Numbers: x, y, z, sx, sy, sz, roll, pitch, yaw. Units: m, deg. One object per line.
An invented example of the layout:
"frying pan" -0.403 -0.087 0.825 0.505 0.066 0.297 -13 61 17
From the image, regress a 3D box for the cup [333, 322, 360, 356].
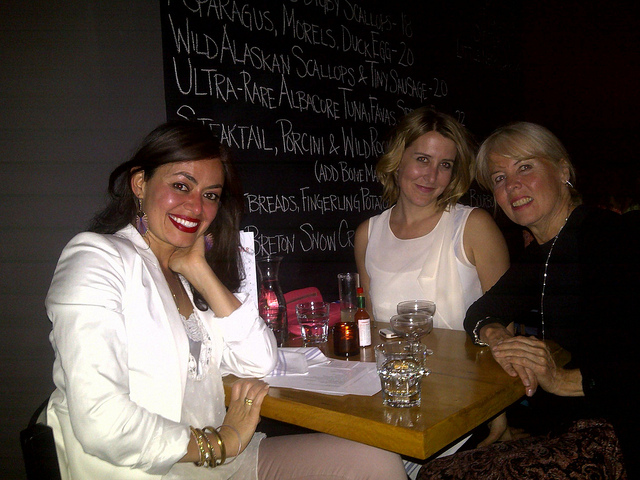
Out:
"cup" 0.124 0.457 2.259 0.105 0.117 0.111 -3 -10 0

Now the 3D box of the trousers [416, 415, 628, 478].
"trousers" 0.731 0.772 1.817 0.691 0.206 0.212 -3 5 10

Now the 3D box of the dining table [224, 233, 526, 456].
"dining table" 0.203 0.486 2.187 0.965 0.604 1.340 -9 0 -37

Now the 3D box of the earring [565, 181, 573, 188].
"earring" 1.236 -0.275 2.463 0.005 0.007 0.032 -18 52 -28

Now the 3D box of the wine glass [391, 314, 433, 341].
"wine glass" 0.405 0.372 2.222 0.126 0.097 0.128 0 1 14

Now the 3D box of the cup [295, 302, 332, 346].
"cup" -0.034 0.405 2.437 0.148 0.173 0.151 0 8 0

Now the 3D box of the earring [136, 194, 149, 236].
"earring" -0.787 -0.111 2.188 0.061 0.181 0.053 -4 5 -7

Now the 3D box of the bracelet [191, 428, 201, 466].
"bracelet" -0.471 0.778 1.888 0.013 0.122 0.054 -7 6 -35

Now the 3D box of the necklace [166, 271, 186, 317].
"necklace" -0.659 0.240 2.284 0.067 0.173 0.197 -5 5 -17

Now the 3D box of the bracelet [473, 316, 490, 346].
"bracelet" 0.734 0.421 2.286 0.059 0.086 0.153 -2 4 17
